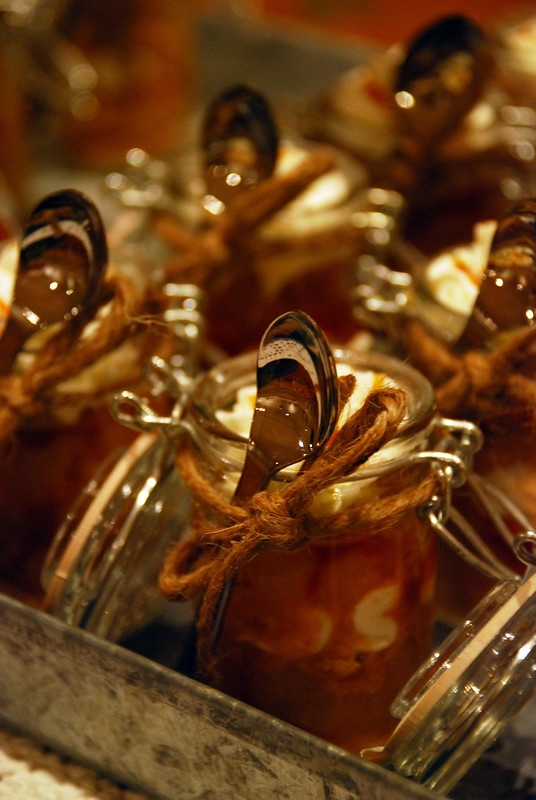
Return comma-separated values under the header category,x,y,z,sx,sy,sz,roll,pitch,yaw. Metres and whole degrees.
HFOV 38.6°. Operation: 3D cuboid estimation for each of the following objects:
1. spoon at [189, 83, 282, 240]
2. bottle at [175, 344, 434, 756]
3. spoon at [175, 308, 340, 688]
category,x,y,z,sx,sy,sz,roll,pitch,yaw
spoon,-0.026,-0.190,0.569,0.061,0.078,0.016,22,29,13
bottle,0.015,0.081,0.365,0.119,0.159,0.120,3,18,-1
spoon,-0.002,0.015,0.275,0.024,0.095,0.015,22,4,8
